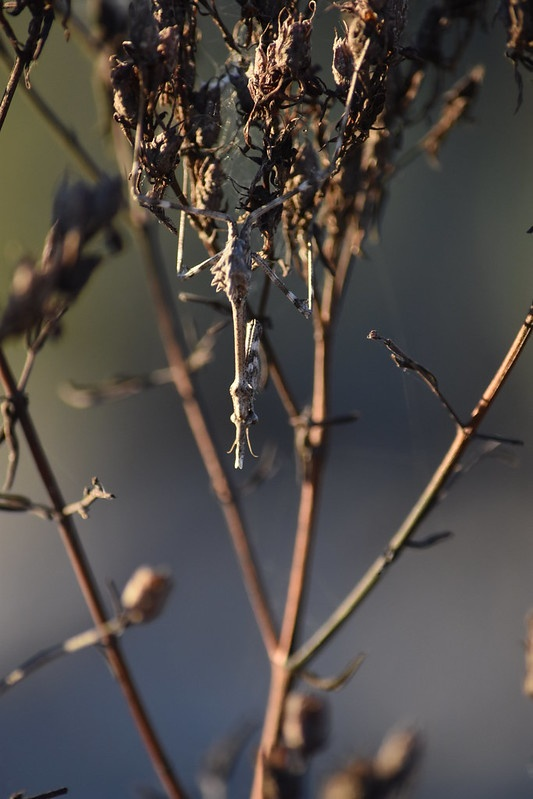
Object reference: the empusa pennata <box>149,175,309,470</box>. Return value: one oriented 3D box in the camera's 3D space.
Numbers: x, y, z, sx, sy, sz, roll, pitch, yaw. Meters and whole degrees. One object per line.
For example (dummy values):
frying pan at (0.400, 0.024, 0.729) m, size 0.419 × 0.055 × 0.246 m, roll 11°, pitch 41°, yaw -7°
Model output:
empusa pennata at (-0.032, -0.055, 0.992) m, size 0.144 × 0.261 × 0.076 m, roll 1°, pitch -5°, yaw 3°
